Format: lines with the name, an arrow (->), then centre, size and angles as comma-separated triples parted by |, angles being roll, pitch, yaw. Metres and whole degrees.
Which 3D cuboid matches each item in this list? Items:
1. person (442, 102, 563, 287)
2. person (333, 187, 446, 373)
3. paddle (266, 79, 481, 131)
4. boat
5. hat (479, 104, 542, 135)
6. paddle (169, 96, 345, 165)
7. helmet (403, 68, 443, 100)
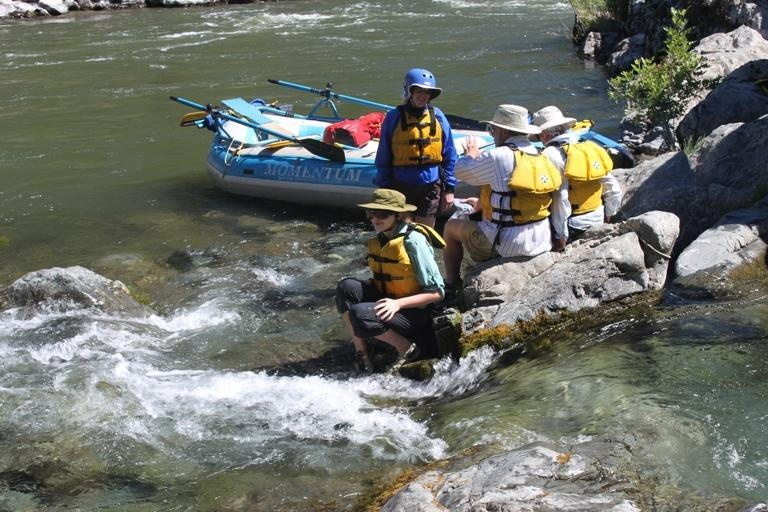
person -> 1.420, -0.611, 9.105 | 1.416, 2.241, 0.787 | 6, 30, 18
person -> 0.100, 0.278, 8.719 | 1.018, 2.111, 1.116 | 15, 33, 31
paddle -> -0.515, -2.866, 14.200 | 3.324, 0.169, 0.692 | 11, 8, 2
boat -> 0.259, -1.498, 11.486 | 7.941, 1.079, 2.537 | 8, 23, 13
hat -> 1.520, -1.585, 8.984 | 0.643, 0.144, 0.473 | 14, 11, 21
paddle -> -2.258, -2.248, 12.991 | 3.440, 0.342, 0.431 | 19, 13, 15
helmet -> 0.442, -2.211, 9.835 | 0.545, 0.271, 0.593 | 2, 9, -22
